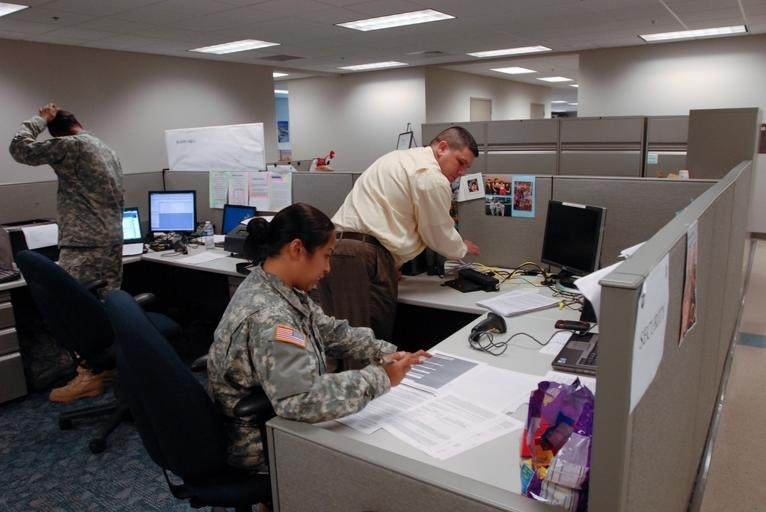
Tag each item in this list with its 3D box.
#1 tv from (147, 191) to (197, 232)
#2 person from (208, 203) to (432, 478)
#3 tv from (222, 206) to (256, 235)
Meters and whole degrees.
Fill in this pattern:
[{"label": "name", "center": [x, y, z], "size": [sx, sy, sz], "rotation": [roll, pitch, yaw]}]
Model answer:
[{"label": "tv", "center": [-1.794, -0.388, 4.316], "size": [0.358, 0.301, 0.047], "rotation": [1, 4, 4]}, {"label": "person", "center": [-0.236, 0.315, 1.845], "size": [0.645, 0.995, 0.470], "rotation": [-8, 13, -39]}, {"label": "tv", "center": [-1.047, -0.269, 3.672], "size": [0.317, 0.241, 0.033], "rotation": [6, 5, 33]}]
